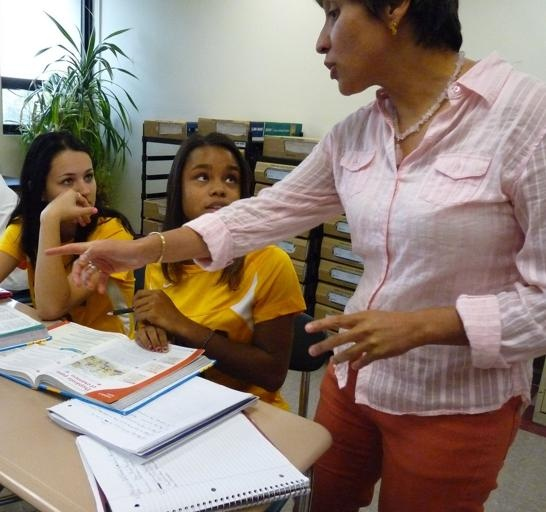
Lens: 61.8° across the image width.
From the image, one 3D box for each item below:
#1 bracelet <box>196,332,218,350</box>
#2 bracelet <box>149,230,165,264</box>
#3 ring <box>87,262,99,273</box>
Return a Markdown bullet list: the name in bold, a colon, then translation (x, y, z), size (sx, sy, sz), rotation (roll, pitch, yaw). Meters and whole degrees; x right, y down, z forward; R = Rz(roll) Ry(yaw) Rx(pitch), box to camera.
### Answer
- **bracelet**: translation (-0.175, 0.223, 1.194), size (0.076, 0.020, 0.010), rotation (-46, 11, -17)
- **bracelet**: translation (-0.242, -0.014, 0.963), size (0.017, 0.054, 0.053), rotation (-8, 9, -29)
- **ring**: translation (-0.388, 0.025, 0.979), size (0.017, 0.019, 0.022), rotation (-1, -29, -12)
